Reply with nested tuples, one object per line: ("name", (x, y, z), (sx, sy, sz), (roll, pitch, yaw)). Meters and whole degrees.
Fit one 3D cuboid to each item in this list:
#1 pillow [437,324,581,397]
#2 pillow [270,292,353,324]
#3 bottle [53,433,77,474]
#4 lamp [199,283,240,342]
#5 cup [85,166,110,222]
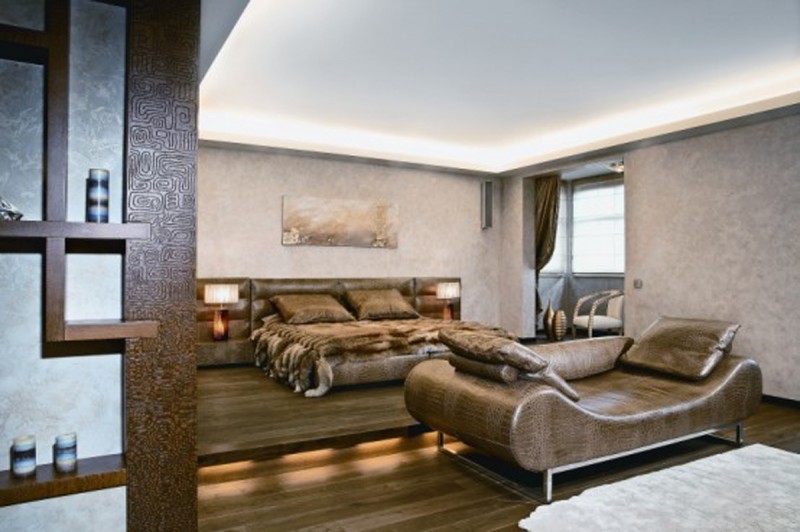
("pillow", (0.680, 0.691, 3.631), (0.990, 0.387, 0.311), (8, 14, 38))
("pillow", (-1.196, 0.539, 6.645), (0.585, 0.137, 0.532), (4, 14, -35))
("bottle", (-1.626, 0.915, 2.578), (0.108, 0.183, 0.144), (-8, 13, -34))
("lamp", (-2.162, 0.578, 6.479), (0.393, 0.677, 0.323), (-6, 13, -24))
("cup", (-1.485, -0.342, 2.604), (0.117, 0.261, 0.219), (-7, 13, -29))
